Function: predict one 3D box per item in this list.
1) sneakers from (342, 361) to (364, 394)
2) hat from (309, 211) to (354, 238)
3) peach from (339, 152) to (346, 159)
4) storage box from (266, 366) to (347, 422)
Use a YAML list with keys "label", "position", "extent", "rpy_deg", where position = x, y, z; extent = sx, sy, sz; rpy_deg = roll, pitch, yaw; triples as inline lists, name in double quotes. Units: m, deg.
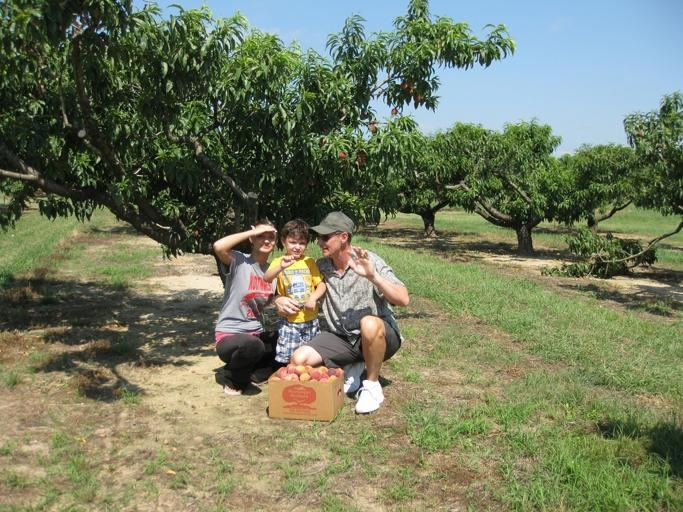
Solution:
- label: "sneakers"
  position: [0.144, 1.433, 6.462]
  extent: [0.170, 0.193, 0.441]
  rpy_deg: [0, -8, 9]
- label: "hat"
  position: [-0.093, -0.333, 6.113]
  extent: [0.364, 0.224, 0.260]
  rpy_deg: [5, 1, -8]
- label: "peach"
  position: [0.019, -1.246, 6.944]
  extent: [0.055, 0.090, 0.105]
  rpy_deg: [9, 15, 35]
- label: "storage box"
  position: [-0.397, 1.497, 5.971]
  extent: [0.598, 0.397, 0.618]
  rpy_deg: [0, 1, 11]
